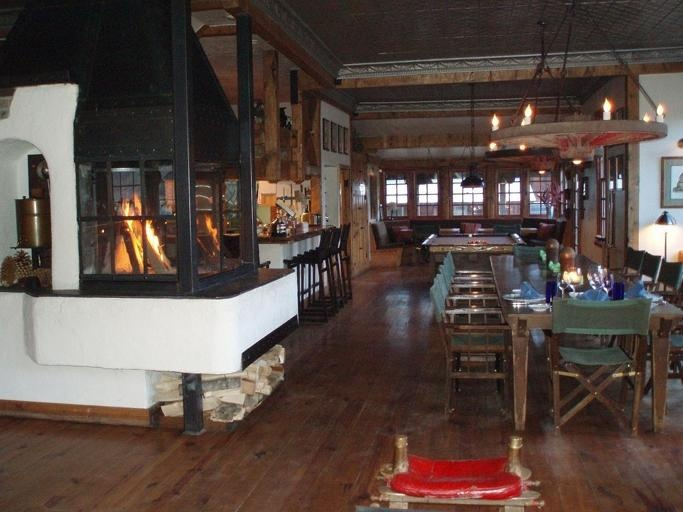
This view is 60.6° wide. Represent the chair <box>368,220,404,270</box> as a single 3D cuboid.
[{"bbox_3d":[1.153,-0.292,15.030,0.719,1.124,1.444,2,10,19],"label":"chair"}]

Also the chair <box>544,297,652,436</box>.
[{"bbox_3d":[2.382,0.806,5.423,0.775,1.227,1.888,3,11,26],"label":"chair"}]

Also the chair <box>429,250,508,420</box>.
[{"bbox_3d":[1.295,0.852,5.978,0.467,0.718,1.403,-2,10,7],"label":"chair"}]
